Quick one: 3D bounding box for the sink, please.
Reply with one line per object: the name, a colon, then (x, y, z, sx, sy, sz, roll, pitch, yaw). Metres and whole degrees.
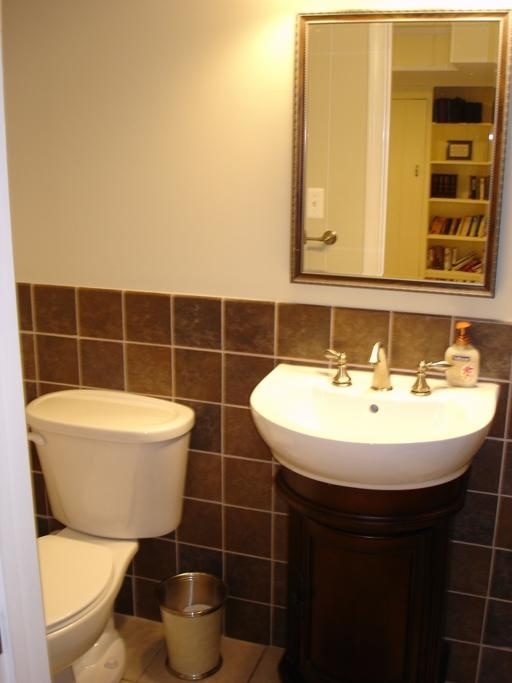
sink: (0.233, 0.195, 1.293, 0.547, 0.149, 0.475, 4, 13, 26)

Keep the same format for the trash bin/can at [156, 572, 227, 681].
trash bin/can: (-0.172, 0.840, 1.832, 0.229, 0.286, 0.243, 6, 11, 19)
